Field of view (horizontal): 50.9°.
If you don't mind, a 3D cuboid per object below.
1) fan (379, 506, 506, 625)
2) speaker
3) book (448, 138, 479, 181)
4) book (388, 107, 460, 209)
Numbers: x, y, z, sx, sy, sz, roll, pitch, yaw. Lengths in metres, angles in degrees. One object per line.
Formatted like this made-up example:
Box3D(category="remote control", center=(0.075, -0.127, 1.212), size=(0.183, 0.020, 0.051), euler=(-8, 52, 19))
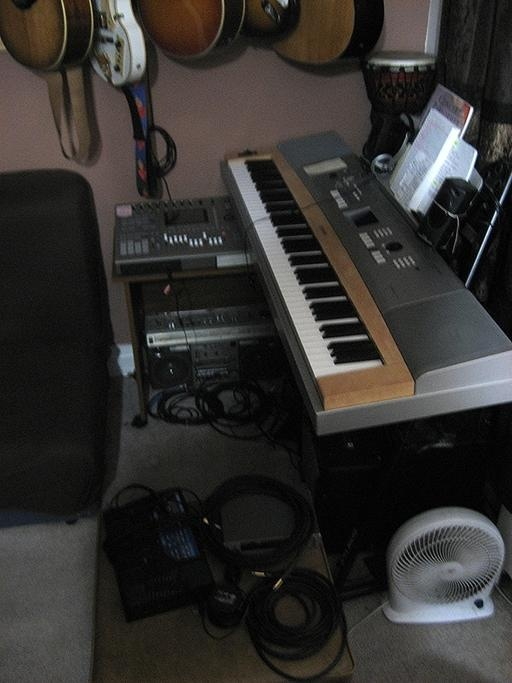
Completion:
Box3D(category="fan", center=(0.437, 0.533, 1.271), size=(0.332, 0.393, 0.165), euler=(-3, 42, 6))
Box3D(category="speaker", center=(0.393, -0.258, 1.116), size=(0.077, 0.153, 0.101), euler=(15, 31, -14))
Box3D(category="book", center=(0.418, -0.365, 1.098), size=(0.053, 0.065, 0.102), euler=(10, 36, 16))
Box3D(category="book", center=(0.383, -0.407, 1.236), size=(0.045, 0.200, 0.192), euler=(19, -7, -7))
